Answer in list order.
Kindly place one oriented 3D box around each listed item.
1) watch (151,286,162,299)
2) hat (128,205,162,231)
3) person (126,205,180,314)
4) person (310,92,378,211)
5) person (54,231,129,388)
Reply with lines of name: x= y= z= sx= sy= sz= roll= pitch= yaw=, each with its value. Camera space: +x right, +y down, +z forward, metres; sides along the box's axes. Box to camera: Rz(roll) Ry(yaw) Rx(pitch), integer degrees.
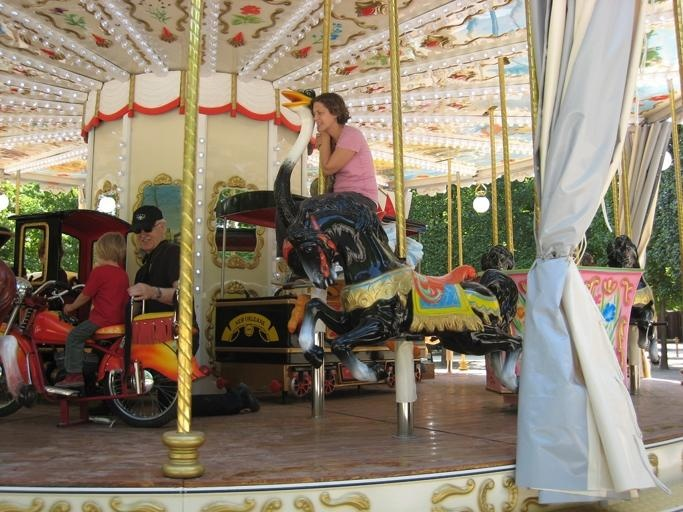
watch: x=-1.585 y=0.312 z=5.589 sx=0.098 sy=0.092 sz=0.032 roll=4 pitch=-2 yaw=37
hat: x=-1.814 y=-0.346 z=6.000 sx=0.203 sy=0.170 sz=0.299 roll=-3 pitch=4 yaw=10
person: x=-1.674 y=0.007 z=5.840 sx=0.419 sy=0.988 sz=0.746 roll=-2 pitch=0 yaw=-14
person: x=0.025 y=-0.851 z=5.216 sx=0.497 sy=0.955 sz=0.648 roll=-2 pitch=0 yaw=1
person: x=-2.172 y=0.452 z=5.651 sx=0.604 sy=1.366 sz=0.402 roll=-2 pitch=0 yaw=-18
